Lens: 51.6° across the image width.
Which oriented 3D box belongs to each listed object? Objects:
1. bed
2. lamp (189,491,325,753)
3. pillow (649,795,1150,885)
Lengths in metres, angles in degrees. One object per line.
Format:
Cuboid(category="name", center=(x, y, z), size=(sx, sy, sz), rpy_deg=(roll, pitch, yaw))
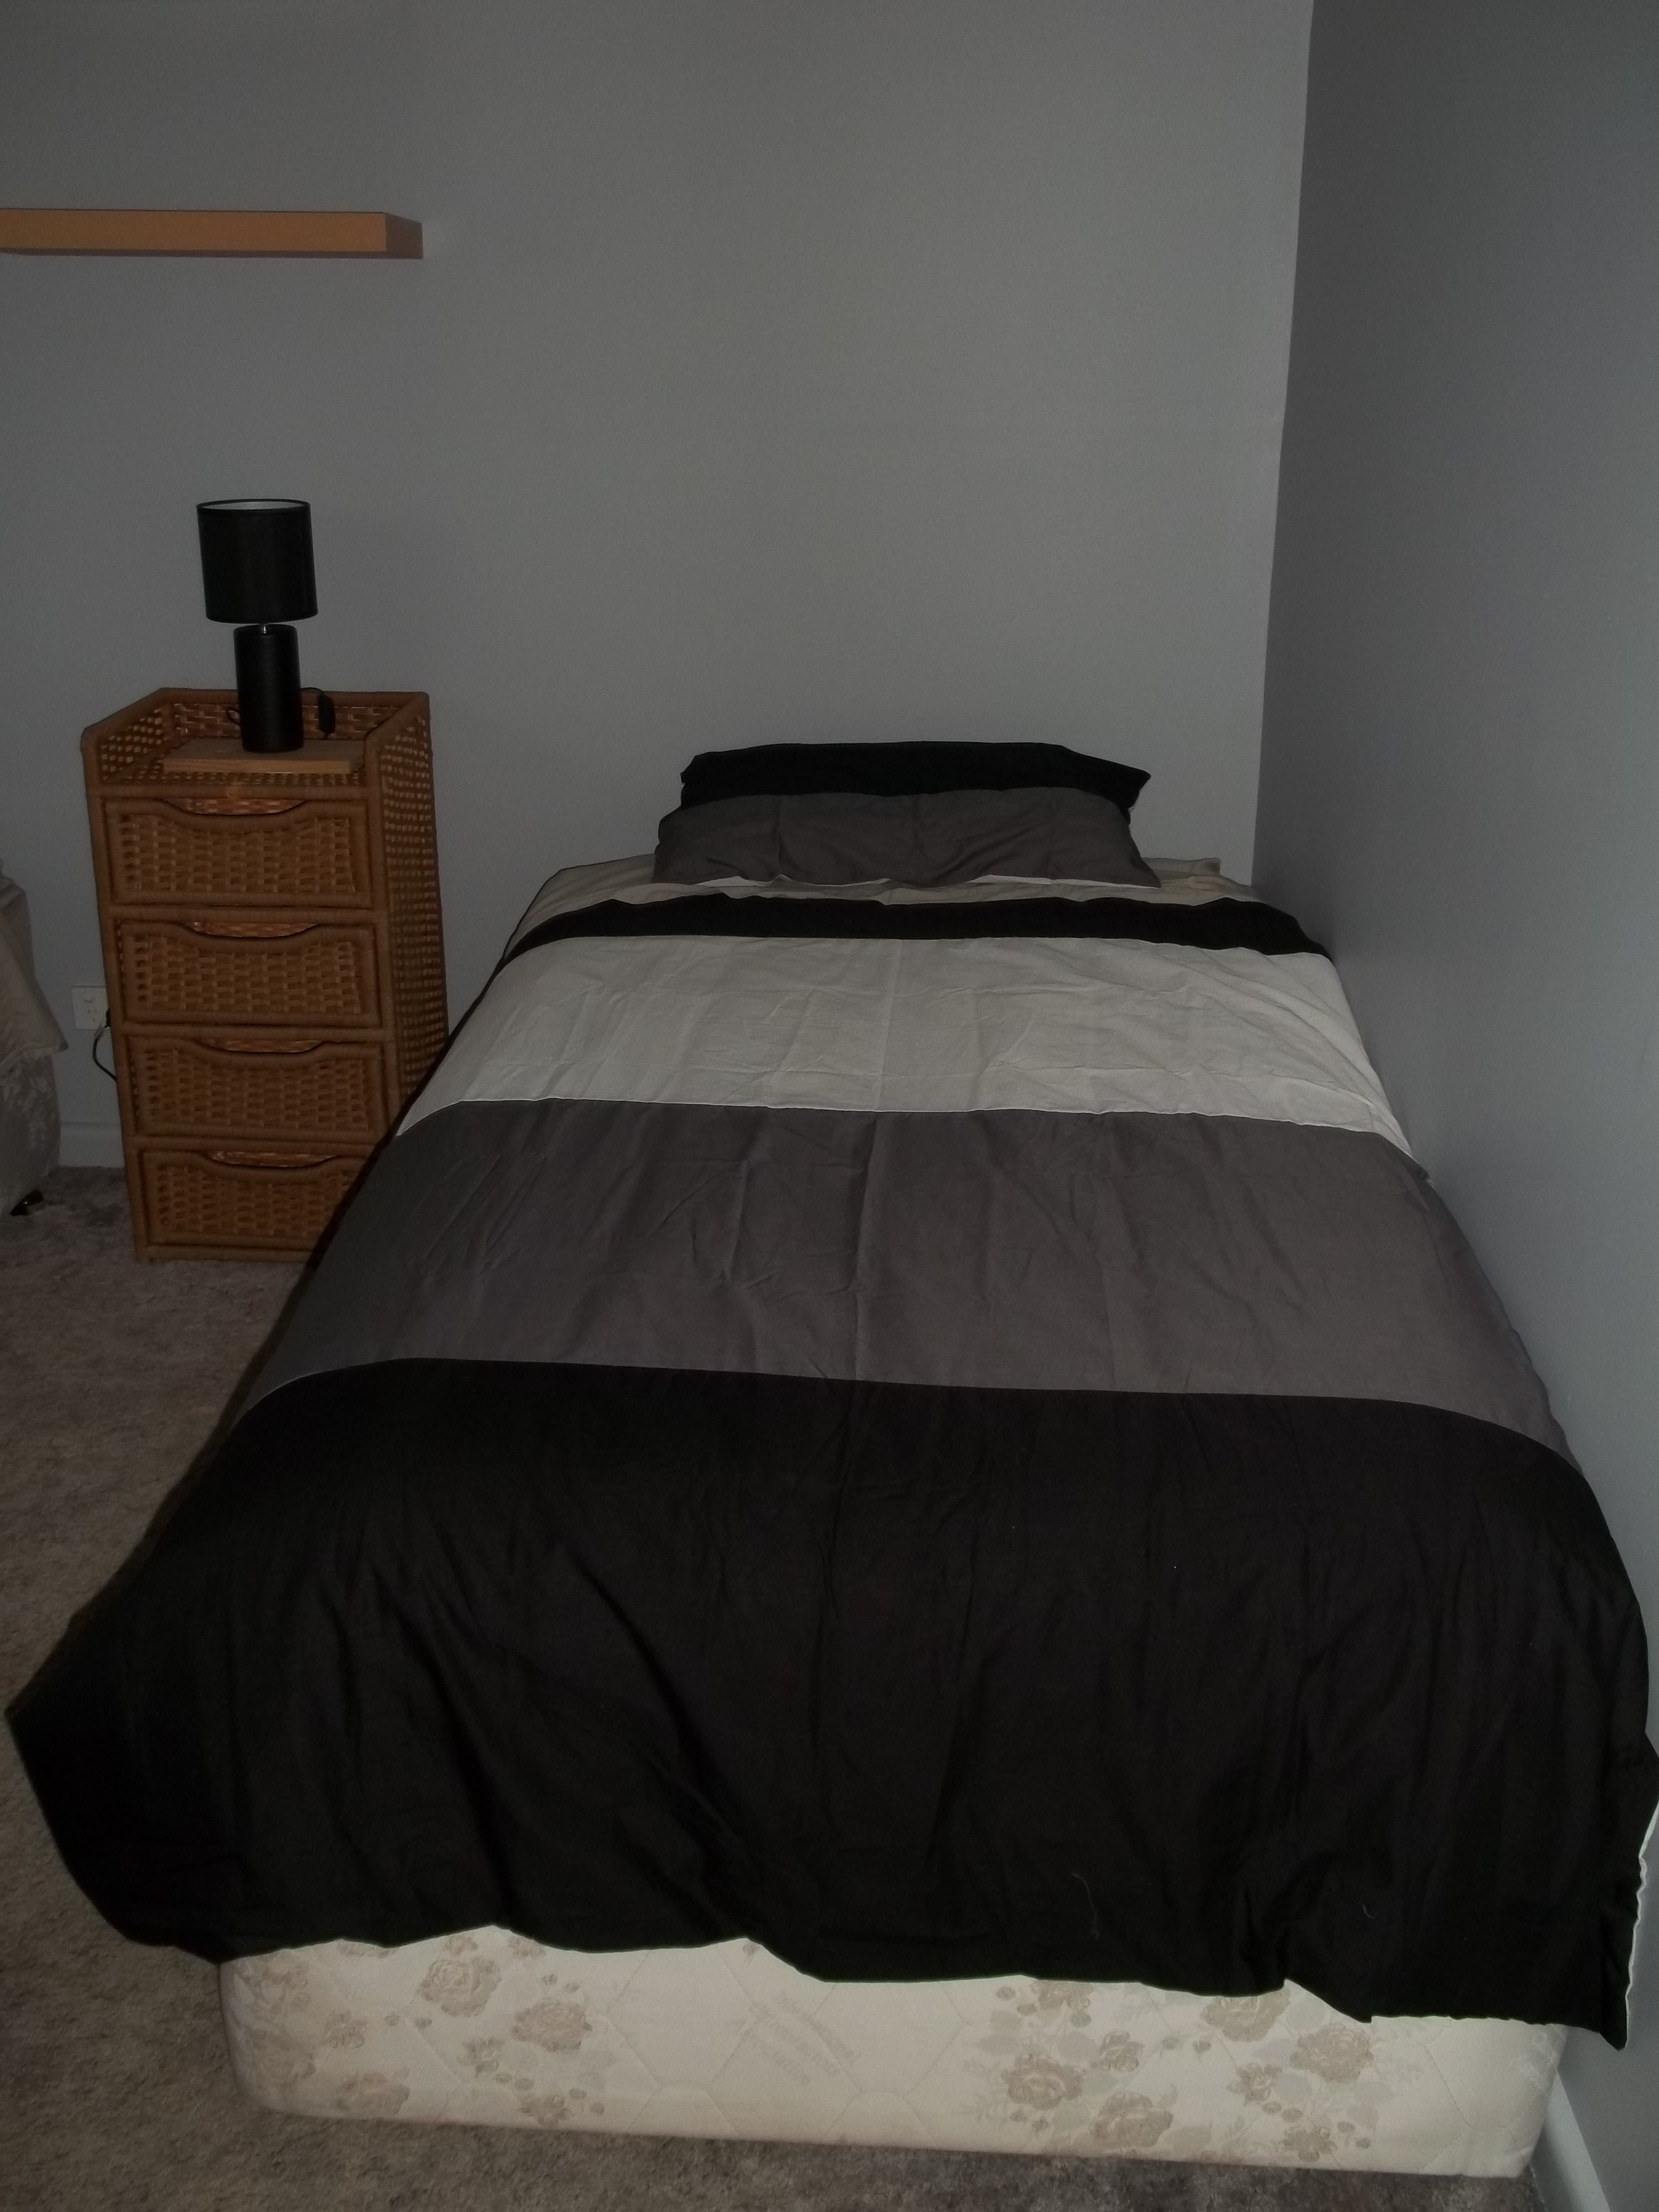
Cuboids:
Cuboid(category="bed", center=(0.048, 0.453, 1.806), size=(1.371, 0.644, 1.172), rpy_deg=(7, 21, 13))
Cuboid(category="lamp", center=(-1.029, -0.858, 3.111), size=(0.183, 0.427, 0.259), rpy_deg=(-5, 21, -19))
Cuboid(category="pillow", center=(0.115, -0.457, 2.988), size=(0.537, 0.091, 0.335), rpy_deg=(0, 20, 1))
